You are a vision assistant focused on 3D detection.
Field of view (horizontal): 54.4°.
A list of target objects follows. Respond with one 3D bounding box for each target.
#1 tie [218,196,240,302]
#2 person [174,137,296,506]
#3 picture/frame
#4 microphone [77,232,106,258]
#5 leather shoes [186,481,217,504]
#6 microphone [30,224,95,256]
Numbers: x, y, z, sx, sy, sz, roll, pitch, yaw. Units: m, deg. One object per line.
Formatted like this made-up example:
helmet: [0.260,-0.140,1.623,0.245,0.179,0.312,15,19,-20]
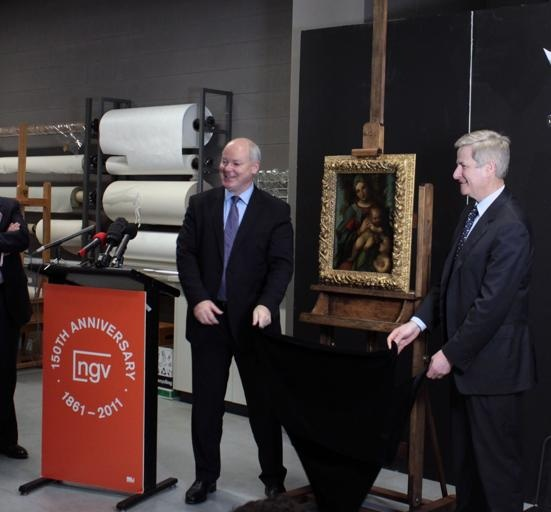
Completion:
tie: [-0.231,-0.041,2.693,0.095,0.533,0.097,2,0,44]
person: [-0.225,0.350,2.762,0.611,1.870,0.435,2,0,29]
picture/frame: [0.420,-0.152,2.440,0.535,0.814,0.084,2,1,29]
microphone: [-1.219,-0.081,3.555,0.076,0.075,0.265,39,43,-2]
leather shoes: [-0.379,1.243,2.801,0.067,0.093,0.197,-3,-10,26]
microphone: [-1.810,-0.156,4.576,0.599,0.090,0.074,-24,26,-6]
